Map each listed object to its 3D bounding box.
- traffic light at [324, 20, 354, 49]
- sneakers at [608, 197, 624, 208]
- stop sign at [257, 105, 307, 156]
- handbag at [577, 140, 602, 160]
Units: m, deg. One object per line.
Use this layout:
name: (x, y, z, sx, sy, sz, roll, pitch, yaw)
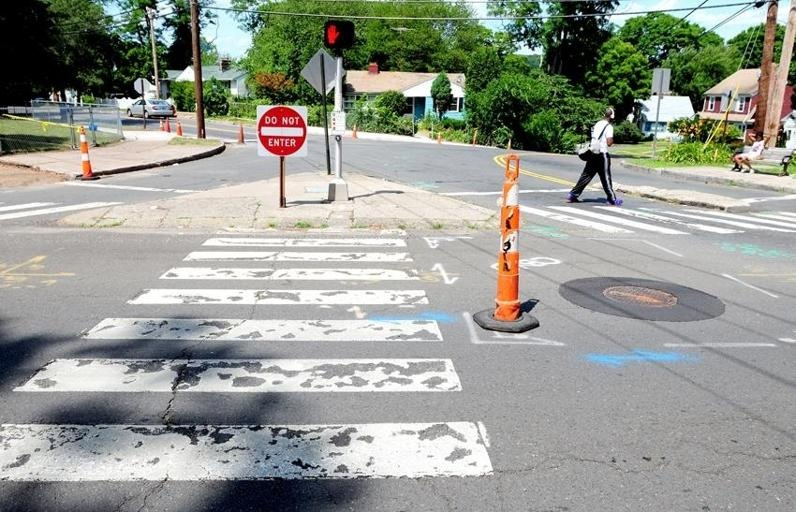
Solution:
traffic light: (-1.291, -4.873, 13.318, 0.602, 0.642, 0.699, -1, 17, -9)
sneakers: (5.670, -1.385, 15.709, 0.443, 0.180, 0.180, -5, 31, 1)
stop sign: (-2.466, -2.647, 12.779, 1.348, 1.067, 0.095, 0, 13, -3)
handbag: (4.894, -2.656, 15.516, 0.391, 0.453, 0.514, 16, -11, 24)
